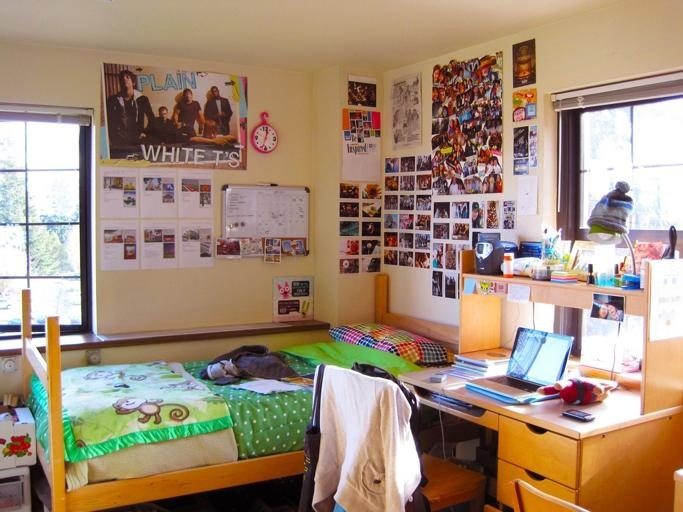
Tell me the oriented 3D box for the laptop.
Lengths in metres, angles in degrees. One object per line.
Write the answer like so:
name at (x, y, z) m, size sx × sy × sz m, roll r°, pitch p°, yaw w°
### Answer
laptop at (0.953, 0.513, 2.683) m, size 0.409 × 0.301 × 0.384 m, roll 0°, pitch 3°, yaw -31°

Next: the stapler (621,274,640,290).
stapler at (1.381, 0.126, 2.418) m, size 0.080 × 0.035 × 0.057 m, roll 2°, pitch 7°, yaw -22°

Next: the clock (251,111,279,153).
clock at (-0.631, -1.009, 4.136) m, size 0.242 × 0.332 × 0.057 m, roll -4°, pitch 6°, yaw -38°

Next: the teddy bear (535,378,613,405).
teddy bear at (1.170, 0.660, 2.487) m, size 0.235 × 0.074 × 0.160 m, roll -2°, pitch 1°, yaw -28°

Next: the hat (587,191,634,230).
hat at (1.304, -0.212, 2.484) m, size 0.195 × 0.206 × 0.180 m, roll 6°, pitch -2°, yaw 26°

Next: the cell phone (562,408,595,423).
cell phone at (1.089, 0.728, 2.321) m, size 0.122 × 0.021 × 0.128 m, roll -3°, pitch 5°, yaw -34°
